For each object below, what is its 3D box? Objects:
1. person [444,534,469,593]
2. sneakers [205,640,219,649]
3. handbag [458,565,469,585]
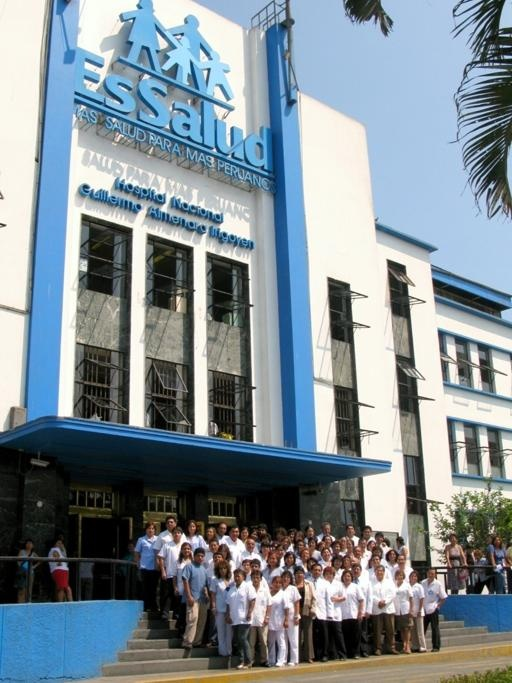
[{"bbox_3d":[5.713,6.449,18.381,0.518,1.718,0.562,-1,-2,-5],"label":"person"},{"bbox_3d":[-0.790,5.478,11.532,0.159,0.169,0.062,24,-39,-10],"label":"sneakers"},{"bbox_3d":[5.868,6.667,18.106,0.325,0.532,0.541,-2,-9,-1],"label":"handbag"}]
